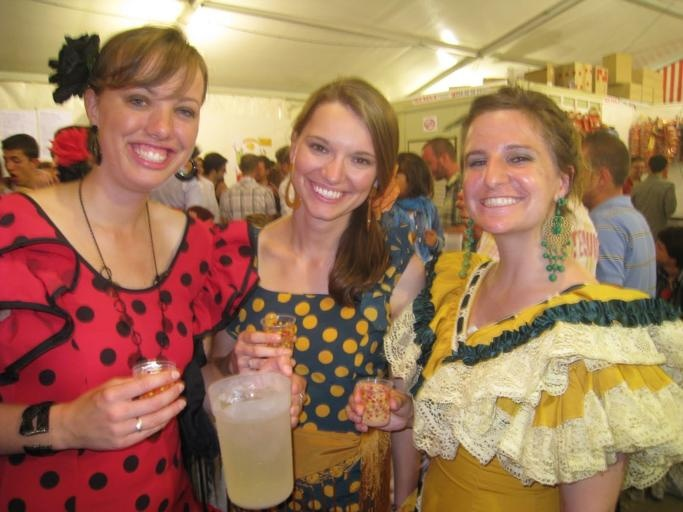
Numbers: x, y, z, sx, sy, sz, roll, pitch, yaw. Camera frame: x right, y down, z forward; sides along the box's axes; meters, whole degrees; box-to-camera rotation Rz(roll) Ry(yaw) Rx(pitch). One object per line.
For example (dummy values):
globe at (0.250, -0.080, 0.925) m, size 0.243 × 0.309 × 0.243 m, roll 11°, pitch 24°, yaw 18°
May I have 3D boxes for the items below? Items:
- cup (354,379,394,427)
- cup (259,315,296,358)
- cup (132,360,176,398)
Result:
cup at (0.131, 0.644, 2.362) m, size 0.176 × 0.151 × 0.174 m, roll -2°, pitch 6°, yaw 0°
cup at (-0.251, 0.351, 2.303) m, size 0.153 × 0.169 × 0.154 m, roll 1°, pitch -3°, yaw 0°
cup at (-0.663, 0.424, 1.894) m, size 0.130 × 0.132 × 0.132 m, roll -3°, pitch -25°, yaw -2°
